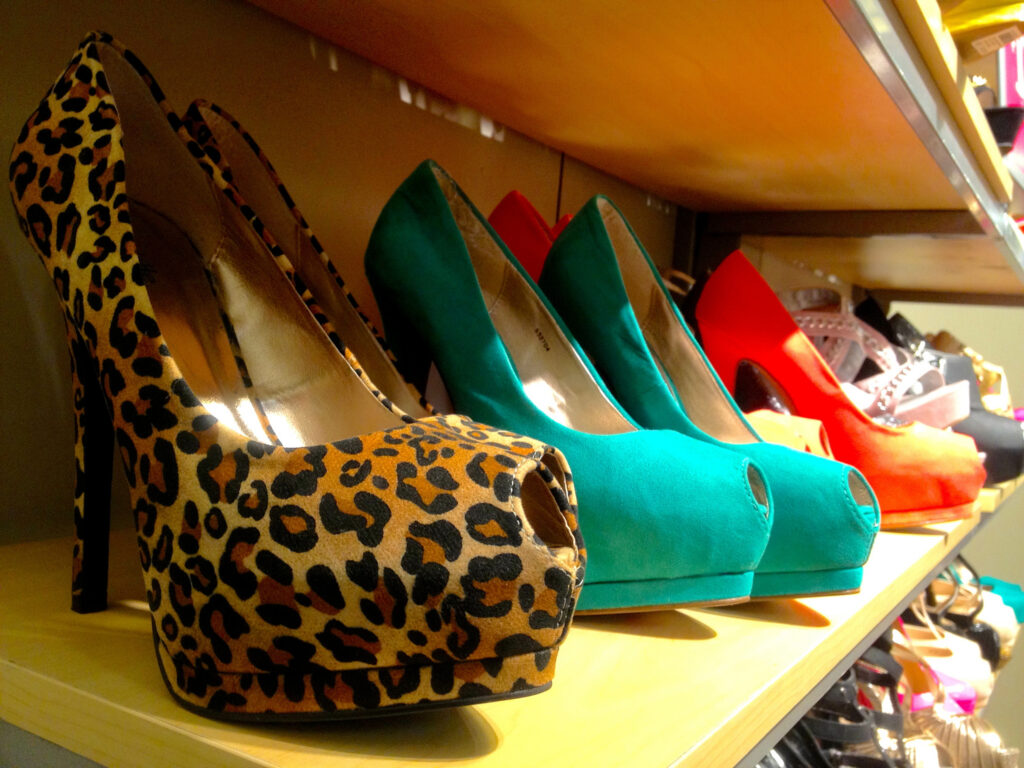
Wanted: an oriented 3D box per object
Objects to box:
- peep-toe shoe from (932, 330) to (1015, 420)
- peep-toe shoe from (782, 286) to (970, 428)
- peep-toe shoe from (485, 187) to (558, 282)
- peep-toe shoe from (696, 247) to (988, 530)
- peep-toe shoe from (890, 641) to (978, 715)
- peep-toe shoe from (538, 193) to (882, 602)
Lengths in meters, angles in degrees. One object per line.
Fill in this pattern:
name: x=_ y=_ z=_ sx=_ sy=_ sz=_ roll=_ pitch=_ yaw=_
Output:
peep-toe shoe: x=1.031 y=-0.020 z=1.814 sx=0.072 sy=0.259 sz=0.090 roll=-35 pitch=-1 yaw=13
peep-toe shoe: x=0.598 y=-0.046 z=1.353 sx=0.090 sy=0.269 sz=0.152 roll=-45 pitch=8 yaw=17
peep-toe shoe: x=0.011 y=-0.181 z=0.934 sx=0.035 sy=0.112 sz=0.060 roll=-24 pitch=-13 yaw=-33
peep-toe shoe: x=0.418 y=0.018 z=1.093 sx=0.236 sy=0.456 sz=0.155 roll=-65 pitch=8 yaw=-3
peep-toe shoe: x=0.771 y=0.545 z=1.509 sx=0.072 sy=0.193 sz=0.063 roll=-25 pitch=29 yaw=29
peep-toe shoe: x=0.188 y=-0.009 z=0.851 sx=0.165 sy=0.218 sz=0.512 roll=7 pitch=22 yaw=-40
